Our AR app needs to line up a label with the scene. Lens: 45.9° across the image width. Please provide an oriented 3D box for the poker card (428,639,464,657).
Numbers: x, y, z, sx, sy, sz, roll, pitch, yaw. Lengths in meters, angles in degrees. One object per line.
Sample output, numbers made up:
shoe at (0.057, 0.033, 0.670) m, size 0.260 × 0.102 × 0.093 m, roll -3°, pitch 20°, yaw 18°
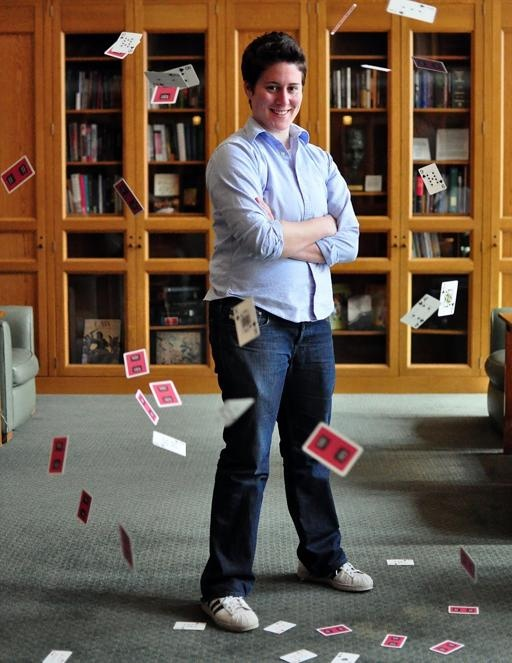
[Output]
poker card at (0.403, 0.667, 1.276) m, size 0.075 × 0.009 × 0.048 m, roll -3°, pitch 5°, yaw -41°

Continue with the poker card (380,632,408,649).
poker card at (0.297, 0.665, 1.303) m, size 0.062 × 0.006 × 0.067 m, roll -3°, pitch -4°, yaw 18°

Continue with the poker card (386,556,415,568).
poker card at (0.420, 0.671, 1.758) m, size 0.083 × 0.004 × 0.062 m, roll 0°, pitch 4°, yaw 0°

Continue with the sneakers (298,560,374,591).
sneakers at (0.212, 0.627, 1.614) m, size 0.197 × 0.077 × 0.070 m, roll 1°, pitch 0°, yaw 21°

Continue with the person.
person at (0.071, -0.018, 1.450) m, size 0.339 × 1.312 × 0.488 m, roll 0°, pitch 0°, yaw 38°
